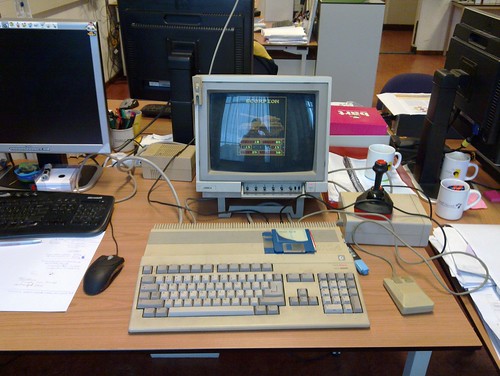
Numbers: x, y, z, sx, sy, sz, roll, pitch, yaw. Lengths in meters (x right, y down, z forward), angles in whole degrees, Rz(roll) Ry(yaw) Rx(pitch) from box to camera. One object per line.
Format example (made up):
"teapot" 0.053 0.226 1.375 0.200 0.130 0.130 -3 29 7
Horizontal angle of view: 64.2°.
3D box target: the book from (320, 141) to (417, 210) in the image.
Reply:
"book" 0.407 -0.043 1.492 0.301 0.063 0.251 -1 46 2

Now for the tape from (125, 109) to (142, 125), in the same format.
"tape" -0.519 -0.310 1.801 0.072 0.070 0.082 1 36 -7

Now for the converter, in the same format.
"converter" -0.303 -0.098 1.507 0.223 0.095 0.142 3 37 5

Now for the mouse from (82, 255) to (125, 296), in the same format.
"mouse" -0.404 0.235 1.113 0.066 0.033 0.114 16 46 15

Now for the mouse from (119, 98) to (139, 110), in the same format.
"mouse" -0.608 -0.429 1.996 0.074 0.039 0.114 -1 19 0

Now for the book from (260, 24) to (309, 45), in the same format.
"book" 0.319 -1.352 3.541 0.300 0.075 0.277 1 34 4

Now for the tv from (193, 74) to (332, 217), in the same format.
"tv" 0.051 -0.148 1.463 0.568 0.542 0.394 0 25 1

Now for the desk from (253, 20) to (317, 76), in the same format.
"desk" 0.326 -1.301 3.781 0.508 0.450 0.477 -1 49 -1

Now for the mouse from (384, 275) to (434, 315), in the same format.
"mouse" 0.424 0.282 1.077 0.100 0.032 0.121 -3 30 -16

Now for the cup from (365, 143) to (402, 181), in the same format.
"cup" 0.518 -0.092 1.528 0.152 0.116 0.091 0 15 -8
